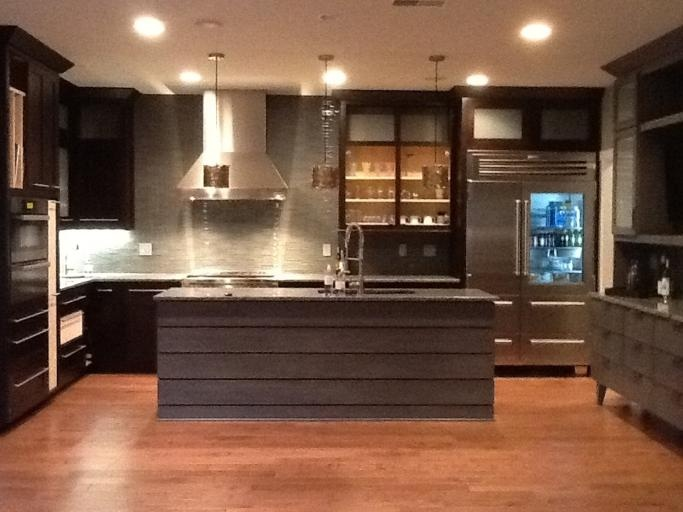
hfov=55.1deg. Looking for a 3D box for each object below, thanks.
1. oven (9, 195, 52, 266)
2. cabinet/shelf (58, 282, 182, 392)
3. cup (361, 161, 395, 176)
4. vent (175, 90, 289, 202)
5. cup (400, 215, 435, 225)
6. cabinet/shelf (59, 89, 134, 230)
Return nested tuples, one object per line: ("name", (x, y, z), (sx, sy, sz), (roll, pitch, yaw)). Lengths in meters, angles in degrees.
("oven", (-2.669, -0.220, 5.603), (0.323, 0.571, 0.620), (0, -1, -5))
("cabinet/shelf", (-2.185, 0.771, 6.558), (0.985, 0.718, 0.981), (1, 1, -3))
("cup", (0.423, -0.988, 7.355), (0.271, 0.108, 0.184), (0, 0, 8))
("vent", (-1.231, -1.277, 7.579), (1.119, 1.244, 1.312), (0, 3, 2))
("cup", (0.848, -0.403, 7.376), (0.266, 0.098, 0.157), (1, 0, 7))
("cabinet/shelf", (-2.595, -1.056, 7.060), (0.751, 1.501, 0.299), (-3, 11, -17))
